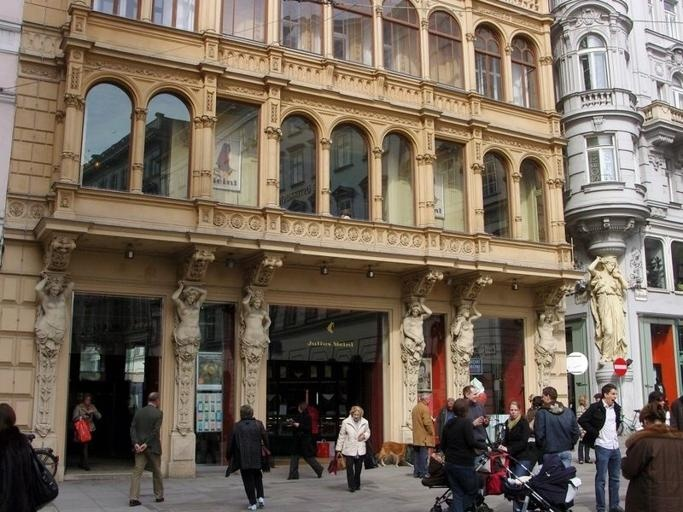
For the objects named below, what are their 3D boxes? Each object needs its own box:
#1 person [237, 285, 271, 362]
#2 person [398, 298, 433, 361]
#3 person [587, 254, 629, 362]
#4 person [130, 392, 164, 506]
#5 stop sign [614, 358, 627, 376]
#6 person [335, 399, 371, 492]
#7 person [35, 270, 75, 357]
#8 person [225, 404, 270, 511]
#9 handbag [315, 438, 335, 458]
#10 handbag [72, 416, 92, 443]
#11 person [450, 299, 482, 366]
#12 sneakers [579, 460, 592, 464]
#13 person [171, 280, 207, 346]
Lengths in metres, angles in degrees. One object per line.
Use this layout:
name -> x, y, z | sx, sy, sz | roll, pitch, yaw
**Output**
person -> -2.591, 2.080, 22.422 | 0.831, 2.256, 0.319 | 3, -11, -14
person -> 2.465, 2.539, 24.779 | 0.850, 2.149, 0.381 | -1, -11, 8
person -> 11.214, 2.269, 31.066 | 1.513, 4.502, 1.035 | -3, -11, 20
person -> -4.368, 4.372, 16.812 | 0.681, 2.460, 0.792 | -3, -11, 19
stop sign -> 10.107, 4.020, 26.788 | 0.364, 0.567, 0.507 | -5, -12, 28
person -> 0.310, 4.852, 18.617 | 0.806, 2.075, 1.168 | 0, -10, 2
person -> -7.840, 1.627, 20.120 | 0.873, 2.176, 0.378 | 5, -11, -24
person -> -2.036, 4.438, 16.324 | 0.892, 2.209, 0.588 | 2, -11, -8
handbag -> -0.524, 6.092, 23.392 | 0.421, 0.837, 0.637 | -5, -9, 28
handbag -> -7.164, 4.810, 20.562 | 0.391, 0.891, 0.355 | 18, -37, -35
person -> 4.259, 2.755, 25.777 | 0.904, 2.194, 0.404 | 0, -10, 4
sneakers -> 7.623, 6.413, 22.975 | 0.413, 0.119, 0.152 | 2, 2, 2
person -> -4.449, 1.719, 21.603 | 0.888, 1.828, 0.470 | 3, -11, -14
